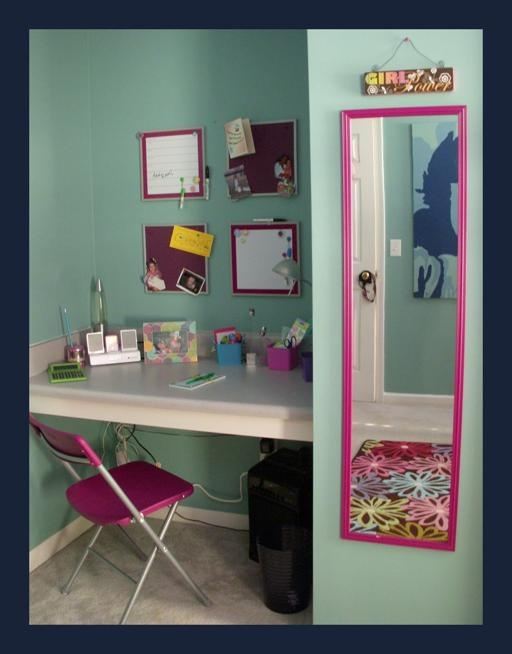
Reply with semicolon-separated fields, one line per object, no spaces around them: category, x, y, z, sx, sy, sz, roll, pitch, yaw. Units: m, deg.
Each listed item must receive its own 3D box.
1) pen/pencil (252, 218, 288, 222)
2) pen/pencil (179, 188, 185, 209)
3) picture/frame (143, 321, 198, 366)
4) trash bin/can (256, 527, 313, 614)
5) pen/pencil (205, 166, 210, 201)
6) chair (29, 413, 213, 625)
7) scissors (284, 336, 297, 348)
pen/pencil;0.065;-0.441;2.259;0.110;0.017;0.018;1;23;10
pen/pencil;-0.323;-0.559;2.396;0.020;0.086;0.028;-7;11;-30
picture/frame;-0.366;0.073;2.336;0.170;0.153;0.014;-1;5;-5
trash bin/can;0.116;0.840;1.953;0.212;0.291;0.189;-2;-4;8
pen/pencil;-0.208;-0.613;2.344;0.024;0.135;0.009;-6;11;-25
chair;-0.481;0.655;1.939;0.535;0.773;0.477;-6;10;-32
scissors;0.139;0.057;2.163;0.041;0.044;0.011;0;-21;-4
